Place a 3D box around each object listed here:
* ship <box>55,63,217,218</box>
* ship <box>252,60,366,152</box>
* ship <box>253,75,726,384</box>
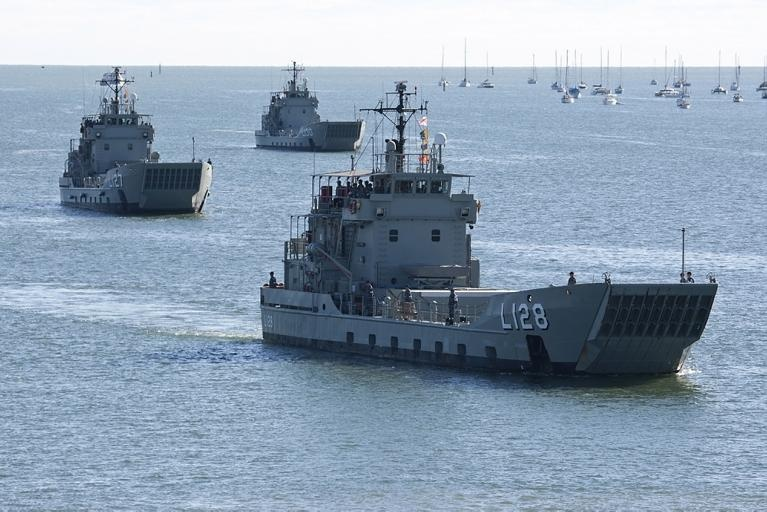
[{"bbox_3d":[-17.867,-8.783,169.951,11.782,14.899,16.736,-13,16,-42],"label":"ship"},{"bbox_3d":[-9.198,-17.269,219.535,6.250,9.443,20.201,-4,5,-26],"label":"ship"},{"bbox_3d":[5.106,-1.836,112.447,27.754,17.057,10.643,5,11,37],"label":"ship"}]
